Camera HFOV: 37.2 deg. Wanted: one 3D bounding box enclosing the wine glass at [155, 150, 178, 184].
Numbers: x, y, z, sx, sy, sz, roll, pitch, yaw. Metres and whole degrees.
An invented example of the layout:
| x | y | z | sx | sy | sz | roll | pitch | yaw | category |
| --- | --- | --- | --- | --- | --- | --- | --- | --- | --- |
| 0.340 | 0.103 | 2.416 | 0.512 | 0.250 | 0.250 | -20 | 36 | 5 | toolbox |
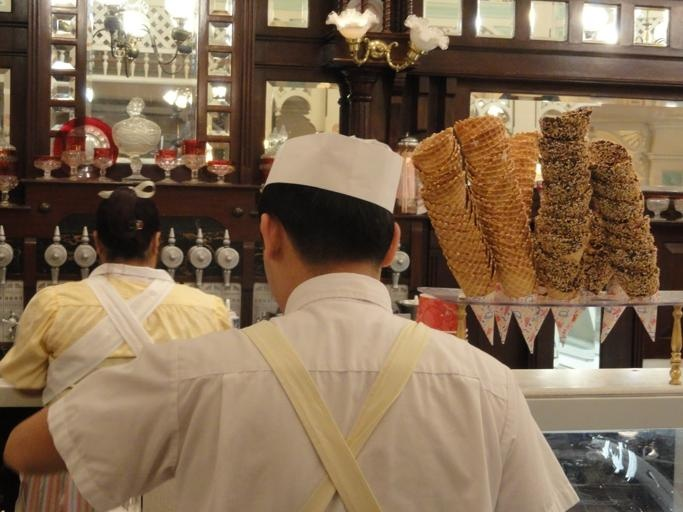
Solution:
| x | y | z | sx | sy | sz | roll | pitch | yaw | category |
| --- | --- | --- | --- | --- | --- | --- | --- | --- | --- |
| -0.893 | -0.459 | 5.177 | 0.100 | 0.174 | 0.109 | 0 | 6 | 8 | wine glass |

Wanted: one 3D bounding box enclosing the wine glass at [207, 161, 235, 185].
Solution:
| x | y | z | sx | sy | sz | roll | pitch | yaw | category |
| --- | --- | --- | --- | --- | --- | --- | --- | --- | --- |
| -0.637 | -0.440 | 5.251 | 0.122 | 0.111 | 0.123 | 0 | 10 | -6 | wine glass |

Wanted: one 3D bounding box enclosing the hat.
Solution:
| x | y | z | sx | sy | sz | roll | pitch | yaw | category |
| --- | --- | --- | --- | --- | --- | --- | --- | --- | --- |
| -0.044 | -0.246 | 2.970 | 0.391 | 0.208 | 0.412 | 4 | -10 | 8 | hat |

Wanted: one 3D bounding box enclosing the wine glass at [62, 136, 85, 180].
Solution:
| x | y | z | sx | sy | sz | roll | pitch | yaw | category |
| --- | --- | --- | --- | --- | --- | --- | --- | --- | --- |
| -1.355 | -0.492 | 5.080 | 0.112 | 0.220 | 0.112 | -3 | 0 | -25 | wine glass |

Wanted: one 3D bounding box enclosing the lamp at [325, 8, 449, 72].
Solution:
| x | y | z | sx | sy | sz | roll | pitch | yaw | category |
| --- | --- | --- | --- | --- | --- | --- | --- | --- | --- |
| 0.203 | -1.072 | 5.066 | 0.577 | 0.266 | 0.310 | 16 | 15 | -23 | lamp |

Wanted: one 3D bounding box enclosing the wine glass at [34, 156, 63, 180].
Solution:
| x | y | z | sx | sy | sz | roll | pitch | yaw | category |
| --- | --- | --- | --- | --- | --- | --- | --- | --- | --- |
| -1.465 | -0.442 | 5.071 | 0.116 | 0.101 | 0.114 | -8 | 12 | -44 | wine glass |

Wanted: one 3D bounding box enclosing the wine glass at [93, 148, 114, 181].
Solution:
| x | y | z | sx | sy | sz | roll | pitch | yaw | category |
| --- | --- | --- | --- | --- | --- | --- | --- | --- | --- |
| -1.214 | -0.464 | 5.132 | 0.117 | 0.203 | 0.121 | 9 | 16 | 21 | wine glass |
